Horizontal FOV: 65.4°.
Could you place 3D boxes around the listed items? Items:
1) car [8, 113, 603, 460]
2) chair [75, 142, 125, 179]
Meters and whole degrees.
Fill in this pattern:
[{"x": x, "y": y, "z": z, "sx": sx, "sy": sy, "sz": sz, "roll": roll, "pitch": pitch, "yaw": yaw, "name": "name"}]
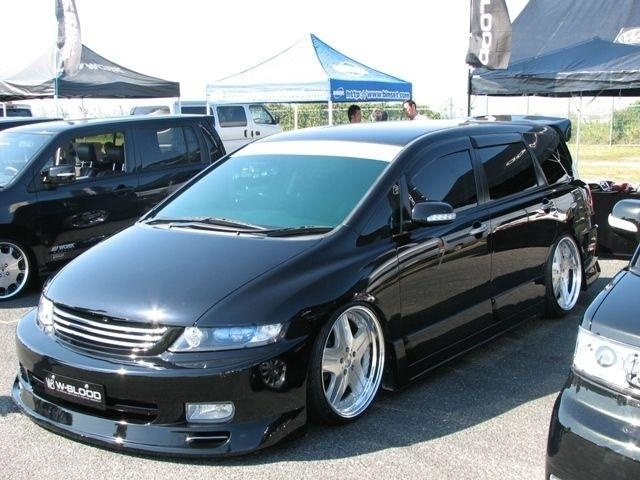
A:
[{"x": 0.383, "y": 0.163, "z": 4.286, "sx": 2.221, "sy": 1.470, "sz": 4.673, "roll": 6, "pitch": 11, "yaw": 43, "name": "car"}, {"x": -3.310, "y": -1.206, "z": 7.457, "sx": 0.511, "sy": 0.635, "sz": 0.658, "roll": 12, "pitch": 22, "yaw": 32, "name": "chair"}]
